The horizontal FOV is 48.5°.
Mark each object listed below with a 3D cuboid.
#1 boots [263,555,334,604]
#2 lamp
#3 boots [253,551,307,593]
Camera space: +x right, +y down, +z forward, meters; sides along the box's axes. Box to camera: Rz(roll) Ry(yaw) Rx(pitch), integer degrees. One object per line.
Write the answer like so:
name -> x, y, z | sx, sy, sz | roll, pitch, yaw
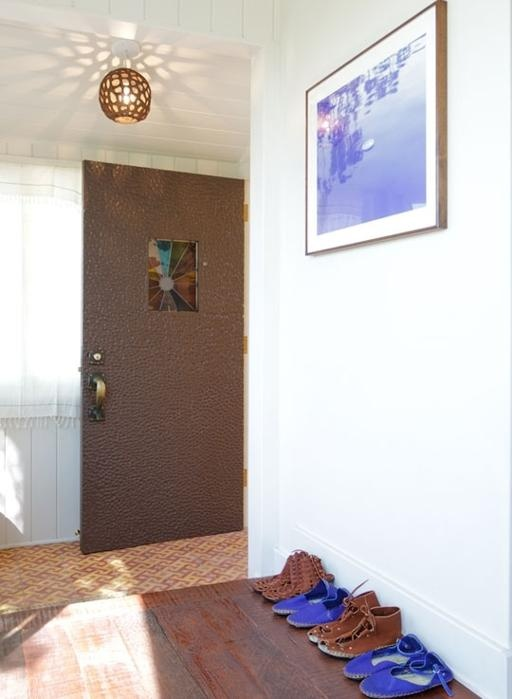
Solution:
boots -> 0.145, 0.726, 1.856 | 0.181, 0.071, 0.110 | 5, -1, -29
lamp -> -0.567, -1.158, 2.451 | 0.198, 0.432, 0.398 | -1, -5, -15
boots -> 0.080, 0.749, 1.918 | 0.200, 0.142, 0.070 | 8, 6, -16
